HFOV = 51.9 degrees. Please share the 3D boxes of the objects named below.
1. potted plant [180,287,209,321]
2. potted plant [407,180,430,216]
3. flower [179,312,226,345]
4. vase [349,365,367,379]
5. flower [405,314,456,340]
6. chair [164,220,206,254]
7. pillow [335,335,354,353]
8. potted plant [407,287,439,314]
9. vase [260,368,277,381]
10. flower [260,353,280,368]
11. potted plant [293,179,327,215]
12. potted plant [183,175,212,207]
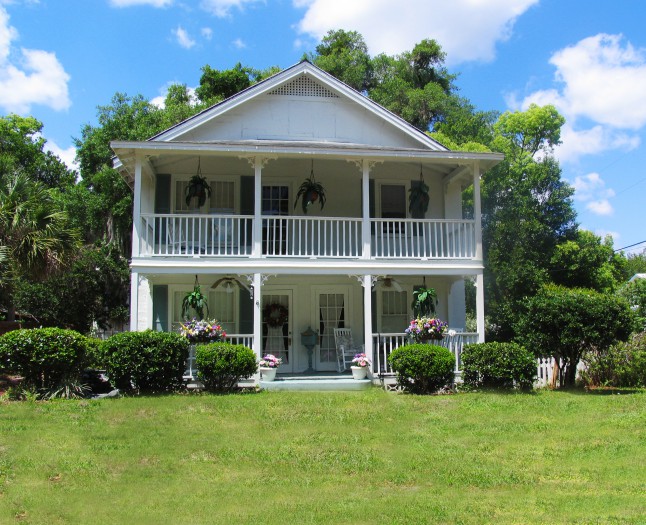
[{"bbox_3d":[-3.674,1.154,18.918,0.766,1.391,0.792,4,-7,-29],"label":"potted plant"},{"bbox_3d":[2.954,-2.096,20.328,0.534,1.522,0.557,-3,8,-14],"label":"potted plant"},{"bbox_3d":[-3.109,1.811,17.256,1.119,0.613,0.814,-3,14,-11],"label":"flower"},{"bbox_3d":[0.931,2.881,17.597,0.310,0.235,0.334,-4,-9,28],"label":"vase"},{"bbox_3d":[2.893,1.788,17.874,0.782,0.419,0.776,1,-2,-41],"label":"flower"},{"bbox_3d":[-3.851,-0.798,18.874,0.870,1.347,1.361,0,-4,-32],"label":"chair"},{"bbox_3d":[0.631,2.395,19.796,0.446,0.551,0.133,10,-24,-42],"label":"pillow"},{"bbox_3d":[2.867,1.053,18.842,0.716,1.023,0.933,2,-11,4],"label":"potted plant"},{"bbox_3d":[-1.442,2.902,17.416,0.310,0.278,0.343,-3,-7,10],"label":"vase"},{"bbox_3d":[-1.423,2.579,17.535,0.370,0.339,0.417,3,-6,-8],"label":"flower"},{"bbox_3d":[-0.330,-2.096,19.897,0.785,0.710,0.748,-1,-1,-5],"label":"potted plant"},{"bbox_3d":[-3.610,-2.103,19.503,0.618,0.983,0.649,1,-4,-15],"label":"potted plant"}]
